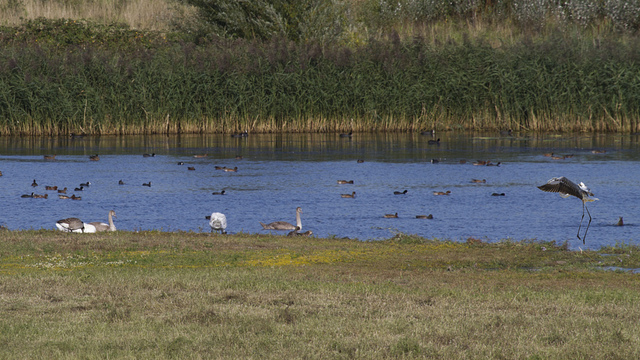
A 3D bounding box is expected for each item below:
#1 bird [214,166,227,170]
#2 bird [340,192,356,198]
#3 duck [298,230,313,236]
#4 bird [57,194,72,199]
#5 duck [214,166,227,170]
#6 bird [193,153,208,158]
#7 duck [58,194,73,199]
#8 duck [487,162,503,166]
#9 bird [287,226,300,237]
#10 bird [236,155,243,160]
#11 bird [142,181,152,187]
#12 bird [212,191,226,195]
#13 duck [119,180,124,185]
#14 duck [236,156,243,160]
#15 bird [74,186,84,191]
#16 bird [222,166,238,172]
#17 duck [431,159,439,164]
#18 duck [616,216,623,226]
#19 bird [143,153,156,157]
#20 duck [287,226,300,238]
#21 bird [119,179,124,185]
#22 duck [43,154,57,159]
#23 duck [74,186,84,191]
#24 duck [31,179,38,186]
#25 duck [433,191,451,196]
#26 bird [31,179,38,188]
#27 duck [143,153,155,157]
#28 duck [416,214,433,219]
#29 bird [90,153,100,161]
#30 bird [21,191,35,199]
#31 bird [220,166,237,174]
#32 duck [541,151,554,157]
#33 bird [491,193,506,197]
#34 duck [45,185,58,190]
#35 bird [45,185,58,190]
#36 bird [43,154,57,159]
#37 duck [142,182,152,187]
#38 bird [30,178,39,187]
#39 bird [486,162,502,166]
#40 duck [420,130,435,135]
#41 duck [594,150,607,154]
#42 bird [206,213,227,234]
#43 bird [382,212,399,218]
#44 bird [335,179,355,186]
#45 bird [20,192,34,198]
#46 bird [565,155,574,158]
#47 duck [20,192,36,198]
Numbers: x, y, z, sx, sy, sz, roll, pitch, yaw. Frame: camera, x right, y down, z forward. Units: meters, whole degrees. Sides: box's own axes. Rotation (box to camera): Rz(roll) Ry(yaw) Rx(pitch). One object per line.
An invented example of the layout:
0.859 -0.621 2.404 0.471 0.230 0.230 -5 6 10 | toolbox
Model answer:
-7.355 -0.800 90.311 0.904 0.266 0.412 0 0 11 | bird
1.997 1.105 83.725 0.941 0.581 0.357 -2 4 -11 | bird
-0.927 3.562 78.388 0.889 0.262 0.363 -5 -33 -2 | duck
-17.614 1.276 83.657 0.727 0.223 0.425 11 -12 -16 | bird
-7.357 -0.828 90.402 0.955 0.270 0.361 1 -36 1 | duck
-9.232 -1.754 93.948 0.703 0.434 0.371 0 19 -2 | bird
-17.561 1.260 83.681 0.798 0.254 0.312 1 7 33 | duck
13.071 -1.087 90.745 0.822 0.492 0.312 3 2 5 | duck
-1.683 3.437 78.411 0.755 0.570 0.940 -2 5 2 | bird
-6.199 -1.617 93.240 0.617 0.403 0.193 1 3 28 | bird
-12.168 0.418 85.792 0.701 0.419 0.231 3 16 32 | bird
-6.993 1.033 84.216 0.882 0.249 0.577 3 -18 9 | bird
-14.058 0.251 86.240 0.308 0.273 0.627 -3 5 -8 | duck
-6.160 -1.615 93.113 0.447 0.222 0.537 -3 5 -13 | duck
-16.843 0.705 84.901 0.410 0.261 0.219 -7 17 17 | bird
-6.594 -0.703 89.672 1.111 0.684 0.348 3 7 -9 | bird
8.723 -1.338 91.894 0.376 0.318 0.493 1 -5 5 | duck
19.569 2.804 79.194 0.396 0.467 0.741 -1 6 15 | duck
-13.161 -1.799 93.839 1.112 0.235 0.697 -6 7 -41 | bird
-1.684 3.481 78.516 0.956 0.669 0.367 -20 12 -11 | duck
-14.053 0.279 86.187 0.285 0.263 0.215 -3 4 9 | bird
-20.622 -1.686 92.586 0.686 0.426 0.341 2 5 1 | duck
-16.811 0.720 84.933 0.423 0.263 0.226 -4 8 10 | duck
-20.124 0.303 85.438 0.594 0.535 0.352 0 -9 -10 | duck
8.468 1.033 83.960 1.184 0.440 0.353 4 9 9 | duck
-20.050 0.346 85.385 0.412 0.420 0.266 3 -11 -28 | bird
-13.156 -1.849 93.757 0.910 0.523 0.287 3 46 -6 | duck
6.960 2.610 80.426 1.000 0.322 0.590 -1 3 12 | duck
-17.160 -1.586 92.665 0.562 0.371 0.320 -1 2 23 | bird
-19.936 1.132 83.548 1.148 0.467 0.332 -6 21 8 | bird
-6.694 -0.682 89.866 1.120 0.689 0.354 0 10 9 | bird
17.510 -1.875 93.276 0.783 0.471 0.299 6 -6 17 | duck
12.334 1.119 83.528 1.000 0.207 0.607 -4 6 -26 | bird
-18.822 0.643 85.115 0.643 0.241 0.304 2 7 1 | duck
-18.776 0.664 85.108 0.593 0.227 0.272 0 3 -2 | bird
-20.614 -1.696 92.573 0.682 0.416 0.337 -1 8 1 | bird
-12.178 0.402 85.712 0.473 0.215 0.321 -3 -21 31 | duck
-20.023 0.363 85.521 0.377 0.542 0.564 2 -5 -2 | bird
13.039 -1.110 90.769 1.060 0.387 0.308 -3 0 3 | bird
9.069 -3.865 102.097 1.219 0.376 0.680 -1 -1 9 | duck
21.771 -2.093 94.062 0.528 0.201 1.357 3 7 44 | duck
-6.548 2.903 78.229 1.022 1.358 0.731 -3 6 -4 | bird
4.708 2.445 80.528 0.686 0.421 0.365 0 4 -12 | bird
1.794 0.287 86.421 1.202 0.336 0.938 -2 5 2 | bird
-20.031 1.189 83.612 0.954 0.398 0.287 -2 38 10 | bird
19.126 -1.720 92.856 0.587 0.374 0.178 3 40 -3 | bird
-20.082 1.137 83.552 1.037 0.399 0.305 -2 12 -2 | duck
